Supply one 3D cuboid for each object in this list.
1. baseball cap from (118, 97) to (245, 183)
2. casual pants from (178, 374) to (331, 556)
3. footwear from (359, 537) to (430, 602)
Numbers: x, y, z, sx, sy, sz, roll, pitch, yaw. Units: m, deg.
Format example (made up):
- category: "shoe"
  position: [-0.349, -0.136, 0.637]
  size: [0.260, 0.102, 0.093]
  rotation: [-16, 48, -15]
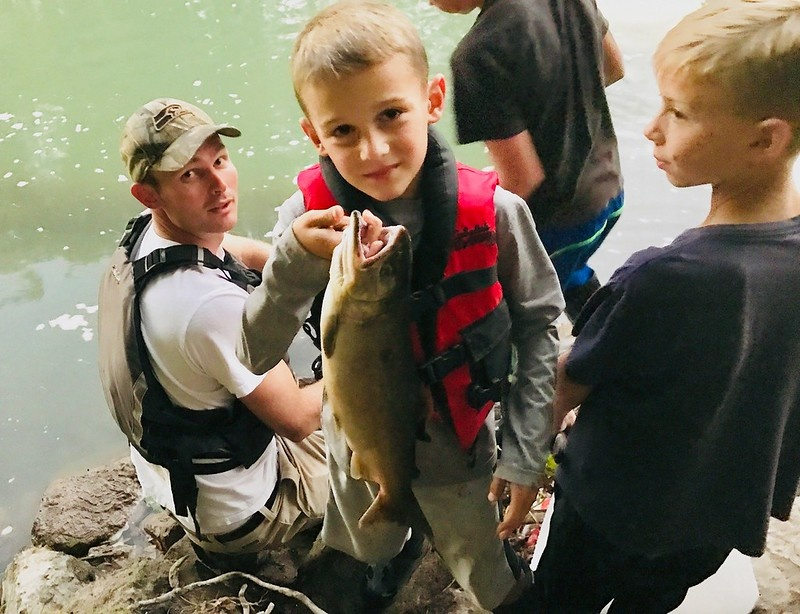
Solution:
- category: "baseball cap"
  position: [-1.112, -0.834, 4.422]
  size: [0.537, 0.263, 0.380]
  rotation: [-19, 17, 37]
- category: "casual pants"
  position: [-0.620, 0.989, 4.758]
  size: [0.853, 0.494, 0.312]
  rotation: [-39, 7, -35]
- category: "footwear"
  position: [0.005, 1.282, 4.566]
  size: [0.379, 0.127, 0.286]
  rotation: [-49, -19, 28]
